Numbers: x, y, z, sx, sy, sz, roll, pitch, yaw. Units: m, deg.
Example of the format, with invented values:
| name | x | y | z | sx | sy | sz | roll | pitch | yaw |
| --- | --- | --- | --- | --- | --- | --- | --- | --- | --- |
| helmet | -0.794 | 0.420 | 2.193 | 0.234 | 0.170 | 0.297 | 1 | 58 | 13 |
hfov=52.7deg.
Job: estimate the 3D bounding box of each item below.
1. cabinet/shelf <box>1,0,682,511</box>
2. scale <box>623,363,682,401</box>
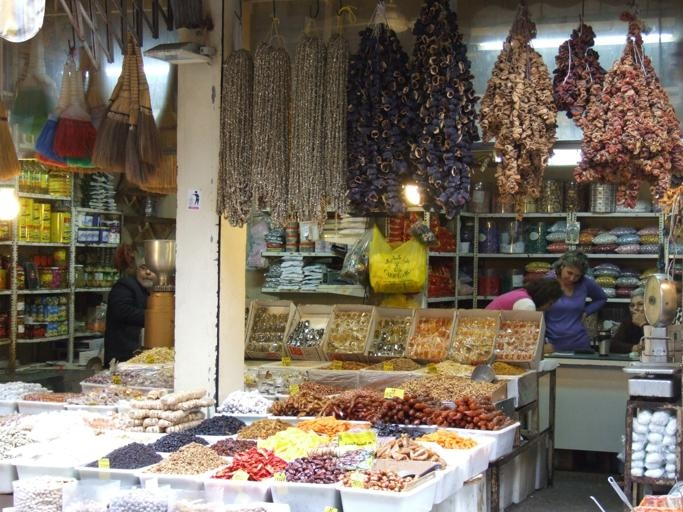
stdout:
| name | x | y | z | sx | sy | sz | roll | pitch | yaw |
| --- | --- | --- | --- | --- | --- | --- | --- | --- | --- |
| cabinet/shelf | 0.162 | -0.008 | 4.494 | 3.824 | 3.475 | 1.259 | 1 | 0 | 11 |
| scale | 1.820 | 0.751 | 4.038 | 0.298 | 0.254 | 0.292 | 1 | 2 | 24 |
